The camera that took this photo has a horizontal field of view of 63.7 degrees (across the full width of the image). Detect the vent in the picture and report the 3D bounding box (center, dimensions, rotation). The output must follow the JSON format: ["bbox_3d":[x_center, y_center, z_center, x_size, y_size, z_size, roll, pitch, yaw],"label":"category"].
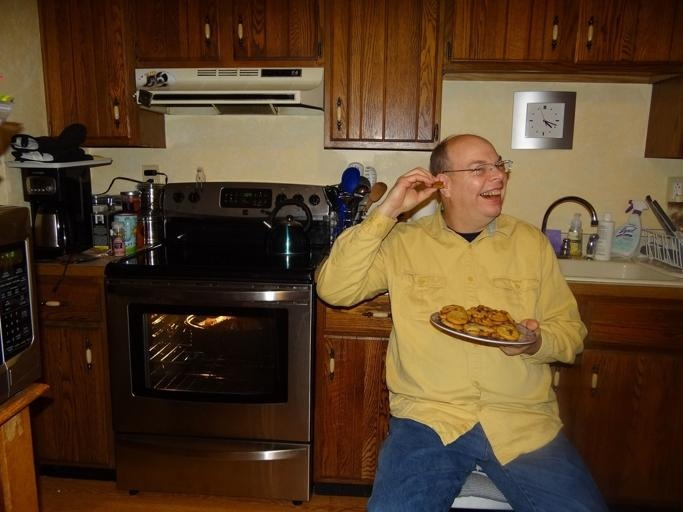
[{"bbox_3d":[-0.564,-0.845,2.824,0.958,0.208,0.388,-1,10,1],"label":"vent"}]

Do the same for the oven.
[{"bbox_3d":[-0.573,0.552,2.743,0.956,1.075,0.773,4,12,2],"label":"oven"}]

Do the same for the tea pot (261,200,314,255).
[{"bbox_3d":[-0.217,-0.132,2.644,0.285,0.319,0.223,2,3,1],"label":"tea pot"}]

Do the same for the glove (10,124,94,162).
[{"bbox_3d":[-1.339,-0.492,2.517,0.271,0.091,0.213,3,17,8],"label":"glove"}]

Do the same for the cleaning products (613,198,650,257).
[{"bbox_3d":[1.504,-0.145,2.858,0.130,0.282,0.268,6,12,33],"label":"cleaning products"}]

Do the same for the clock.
[{"bbox_3d":[1.078,-0.727,2.903,0.288,0.283,0.031,2,6,5],"label":"clock"}]

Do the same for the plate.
[{"bbox_3d":[0.462,0.242,1.805,0.333,0.066,0.179,1,10,8],"label":"plate"}]
